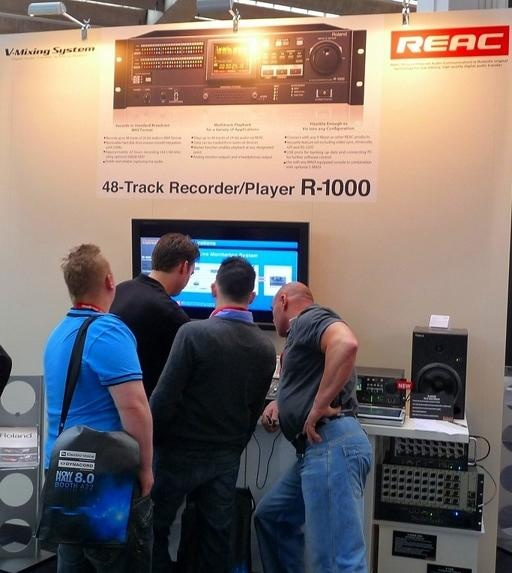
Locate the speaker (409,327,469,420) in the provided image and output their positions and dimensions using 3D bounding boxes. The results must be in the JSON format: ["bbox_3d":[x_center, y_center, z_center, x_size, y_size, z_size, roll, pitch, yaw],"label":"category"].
[{"bbox_3d":[0.823,0.390,2.549,0.232,0.395,0.275,2,-3,19],"label":"speaker"}]
